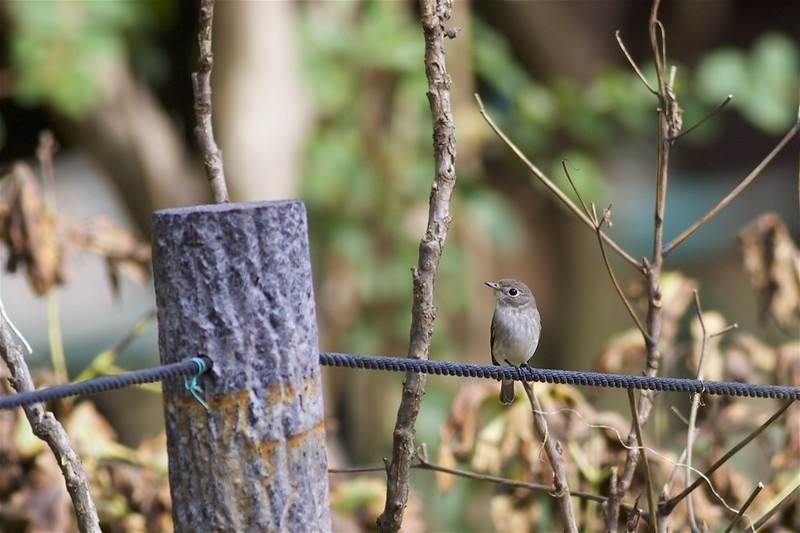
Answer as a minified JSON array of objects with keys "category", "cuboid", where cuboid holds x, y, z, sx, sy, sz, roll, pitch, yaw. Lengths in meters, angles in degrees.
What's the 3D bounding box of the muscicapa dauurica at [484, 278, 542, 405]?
[{"category":"muscicapa dauurica","cuboid":[0.757,0.400,7.940,0.310,0.710,0.687,-1,2,9]}]
